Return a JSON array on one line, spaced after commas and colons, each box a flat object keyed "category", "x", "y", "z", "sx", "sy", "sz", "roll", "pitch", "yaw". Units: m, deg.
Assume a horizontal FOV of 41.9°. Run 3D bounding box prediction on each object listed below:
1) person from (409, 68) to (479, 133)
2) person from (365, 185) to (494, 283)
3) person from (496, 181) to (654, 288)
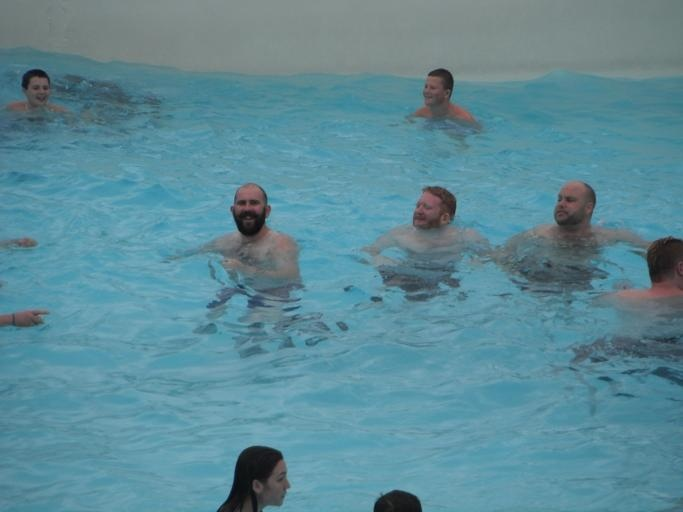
[{"category": "person", "x": 1.582, "y": -2.321, "z": 13.512, "sx": 0.818, "sy": 0.778, "sz": 1.517, "roll": -11, "pitch": 19, "yaw": -35}, {"category": "person", "x": 0.978, "y": -0.197, "z": 9.710, "sx": 1.604, "sy": 0.626, "sz": 1.020, "roll": -2, "pitch": 46, "yaw": 15}, {"category": "person", "x": 2.551, "y": -0.190, "z": 9.623, "sx": 2.377, "sy": 0.466, "sz": 1.505, "roll": 2, "pitch": 30, "yaw": 31}]
